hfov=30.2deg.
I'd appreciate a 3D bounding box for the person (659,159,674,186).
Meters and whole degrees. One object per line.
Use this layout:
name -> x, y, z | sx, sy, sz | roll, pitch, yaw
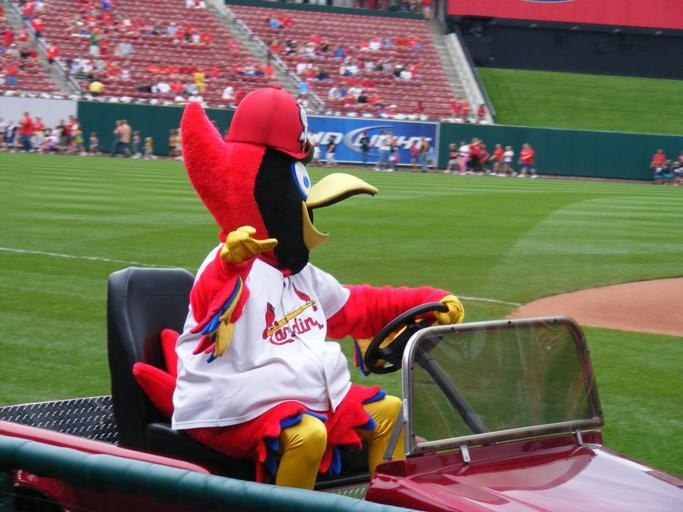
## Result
person -> 10.510, -2.782, 41.275 | 0.590, 0.598, 0.269 | 4, -18, 17
